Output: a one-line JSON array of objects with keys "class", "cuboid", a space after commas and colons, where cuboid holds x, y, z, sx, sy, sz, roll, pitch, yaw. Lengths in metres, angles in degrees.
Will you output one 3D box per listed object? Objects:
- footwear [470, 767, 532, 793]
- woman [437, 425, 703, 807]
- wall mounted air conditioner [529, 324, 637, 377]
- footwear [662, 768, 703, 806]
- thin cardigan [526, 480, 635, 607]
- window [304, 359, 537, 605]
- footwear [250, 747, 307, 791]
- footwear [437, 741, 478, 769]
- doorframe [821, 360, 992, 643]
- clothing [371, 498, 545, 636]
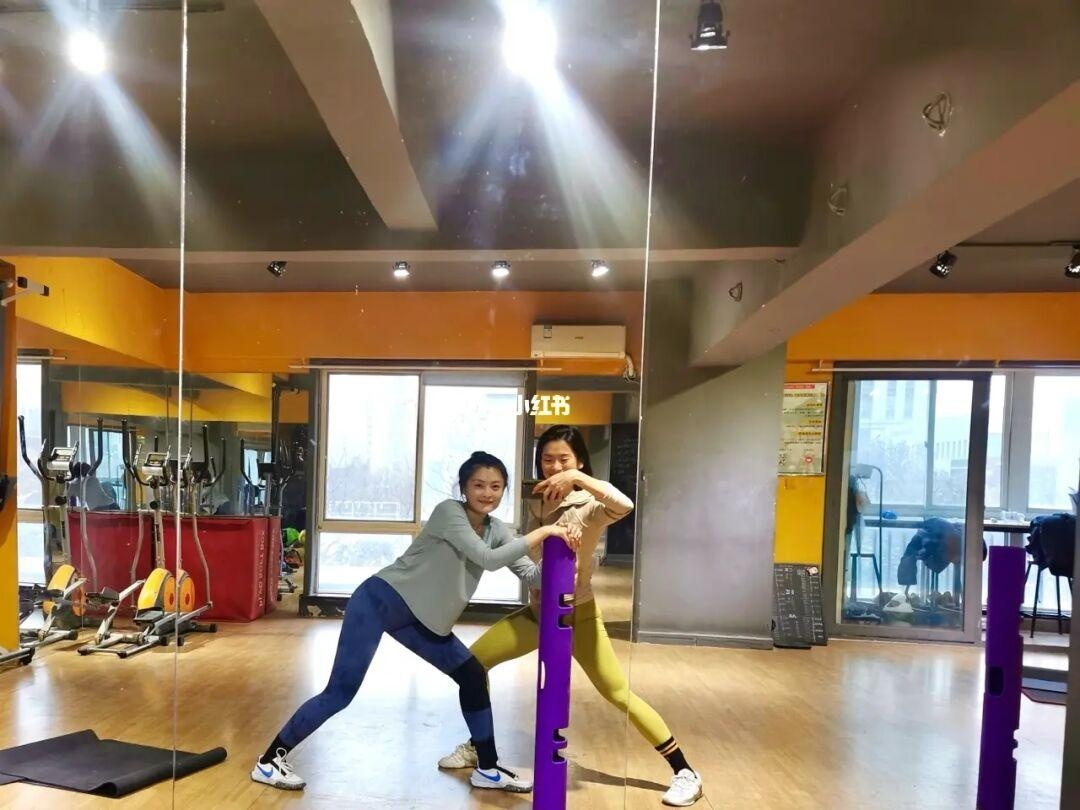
[{"class": "footwear", "cuboid": [-0.149, 1.332, 3.037, 0.239, 0.113, 0.090, 4, -7, -3]}, {"class": "woman", "cuboid": [0.139, 0.842, 3.525, 1.329, 1.728, 0.918, 7, -13, -9]}, {"class": "wall mounted air conditioner", "cuboid": [0.146, -0.198, 2.882, 0.369, 0.183, 0.094, 9, 7, -1]}, {"class": "footwear", "cuboid": [0.545, 1.470, 3.208, 0.088, 0.085, 0.189, -10, -21, 27]}, {"class": "thin cardigan", "cuboid": [0.152, 0.464, 2.842, 0.346, 0.362, 0.210, -2, -20, 21]}, {"class": "window", "cuboid": [-0.428, 0.227, 2.893, 0.750, 0.902, 0.033, 2, 3, -1]}, {"class": "footwear", "cuboid": [-0.930, 1.306, 3.032, 0.223, 0.157, 0.094, 7, -10, 7]}, {"class": "footwear", "cuboid": [-0.285, 1.241, 2.974, 0.168, 0.084, 0.067, 2, -9, -5]}, {"class": "doorframe", "cuboid": [2.415, 0.685, 5.566, 1.155, 1.265, 0.364, 12, 8, 26]}, {"class": "clothing", "cuboid": [-0.344, 0.609, 3.093, 0.583, 0.485, 0.360, 16, -19, 40]}]
